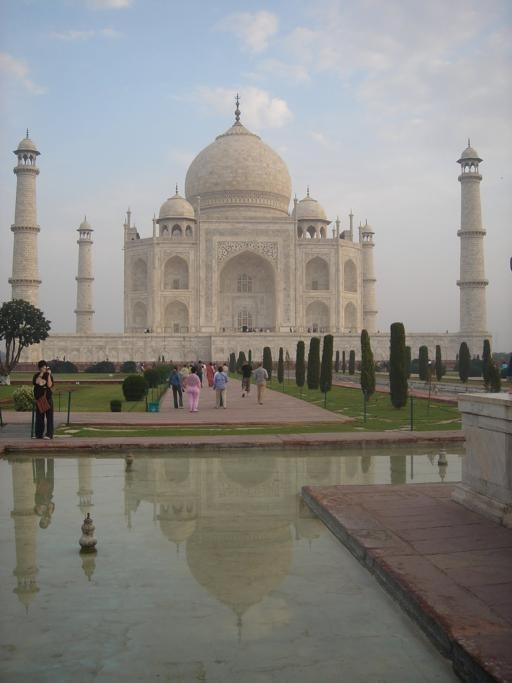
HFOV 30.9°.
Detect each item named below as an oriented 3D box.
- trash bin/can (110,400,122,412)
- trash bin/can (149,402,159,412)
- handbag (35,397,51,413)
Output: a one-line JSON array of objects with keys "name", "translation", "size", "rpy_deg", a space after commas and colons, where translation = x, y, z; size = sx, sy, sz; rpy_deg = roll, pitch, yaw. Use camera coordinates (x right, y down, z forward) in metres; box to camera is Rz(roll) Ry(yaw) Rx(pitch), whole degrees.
[{"name": "trash bin/can", "translation": [-1.792, 0.808, 11.795], "size": [0.144, 0.156, 0.131], "rpy_deg": [-3, -1, 16]}, {"name": "trash bin/can", "translation": [-1.286, 0.815, 11.728], "size": [0.110, 0.114, 0.112], "rpy_deg": [0, -1, -21]}, {"name": "handbag", "translation": [-1.828, 0.537, 7.954], "size": [0.097, 0.128, 0.046], "rpy_deg": [-25, -16, -29]}]
